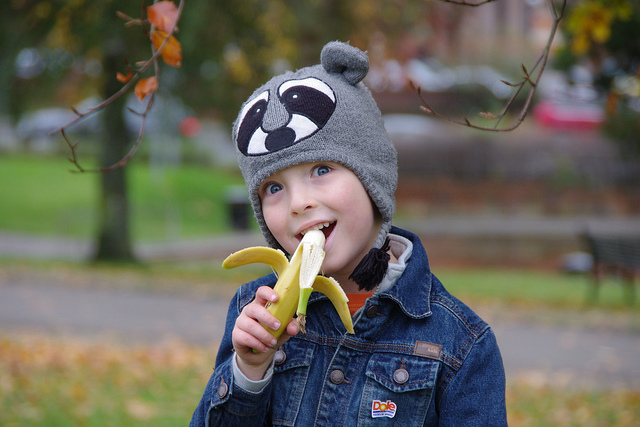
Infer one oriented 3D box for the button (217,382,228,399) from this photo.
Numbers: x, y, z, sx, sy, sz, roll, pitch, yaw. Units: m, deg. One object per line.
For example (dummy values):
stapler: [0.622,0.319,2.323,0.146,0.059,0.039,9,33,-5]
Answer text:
button: [-0.825,1.487,10.327,0.082,0.121,0.026,-8,-12,42]
